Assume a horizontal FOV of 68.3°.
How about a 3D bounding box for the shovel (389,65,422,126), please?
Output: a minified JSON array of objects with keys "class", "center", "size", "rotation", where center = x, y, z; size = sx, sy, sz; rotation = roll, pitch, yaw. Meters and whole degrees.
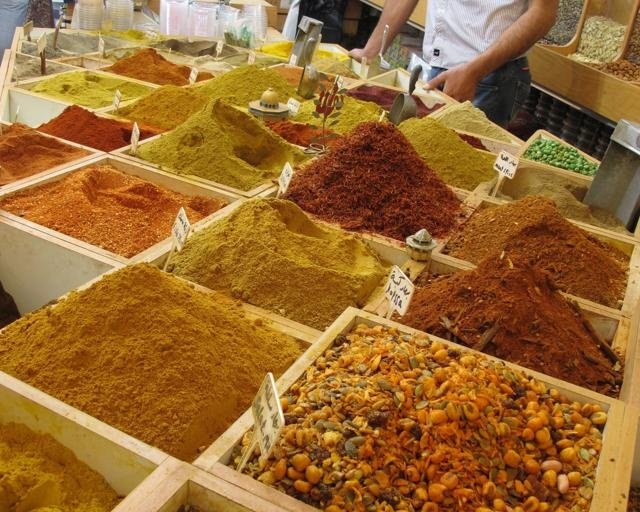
[{"class":"shovel","center":[0.693,-1.262,3.668],"size":[0.203,0.415,0.943],"rotation":[15,27,7]}]
